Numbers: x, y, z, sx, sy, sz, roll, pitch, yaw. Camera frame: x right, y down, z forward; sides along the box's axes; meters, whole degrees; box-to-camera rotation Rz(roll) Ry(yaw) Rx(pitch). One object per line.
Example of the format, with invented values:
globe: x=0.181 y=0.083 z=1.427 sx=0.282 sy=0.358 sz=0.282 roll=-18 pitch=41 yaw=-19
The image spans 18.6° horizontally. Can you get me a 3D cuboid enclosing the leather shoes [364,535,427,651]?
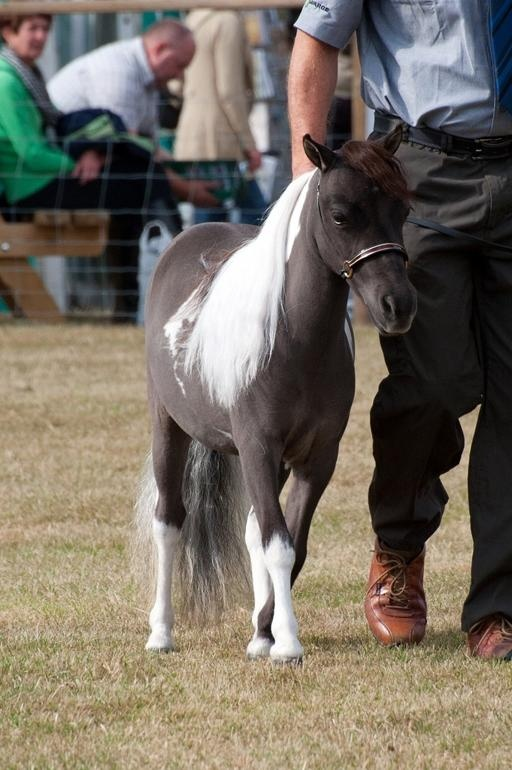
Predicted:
leather shoes: x=0.364 y=0.556 z=4.018 sx=0.097 sy=0.124 sz=0.286 roll=1 pitch=22 yaw=-1

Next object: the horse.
horse: x=-0.006 y=0.037 z=3.861 sx=0.518 sy=1.301 sz=1.056 roll=-4 pitch=9 yaw=-26

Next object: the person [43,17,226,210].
person: x=-0.772 y=-1.426 z=7.855 sx=0.358 sy=0.770 sz=1.295 roll=-28 pitch=20 yaw=-33
